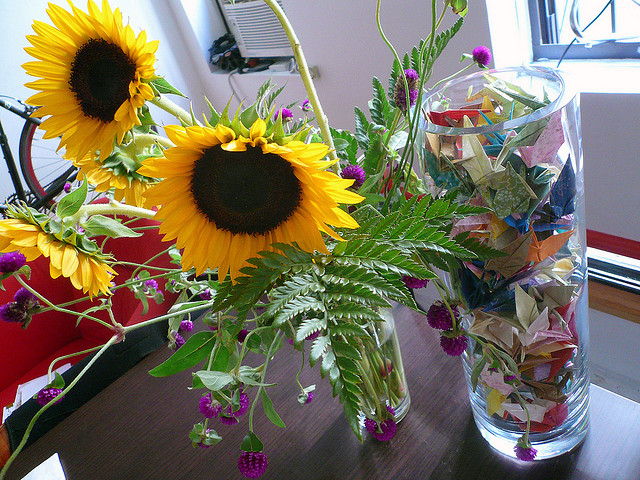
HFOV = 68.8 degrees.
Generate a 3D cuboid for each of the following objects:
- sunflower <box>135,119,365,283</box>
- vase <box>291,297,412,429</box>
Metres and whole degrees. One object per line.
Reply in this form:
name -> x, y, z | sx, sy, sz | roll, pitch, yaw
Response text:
sunflower -> -0.082, -0.052, 0.546 | 0.256, 0.197, 0.042 | -9, 23, 8
vase -> 0.050, 0.193, 0.700 | 0.136, 0.217, 0.149 | -28, 45, 15
